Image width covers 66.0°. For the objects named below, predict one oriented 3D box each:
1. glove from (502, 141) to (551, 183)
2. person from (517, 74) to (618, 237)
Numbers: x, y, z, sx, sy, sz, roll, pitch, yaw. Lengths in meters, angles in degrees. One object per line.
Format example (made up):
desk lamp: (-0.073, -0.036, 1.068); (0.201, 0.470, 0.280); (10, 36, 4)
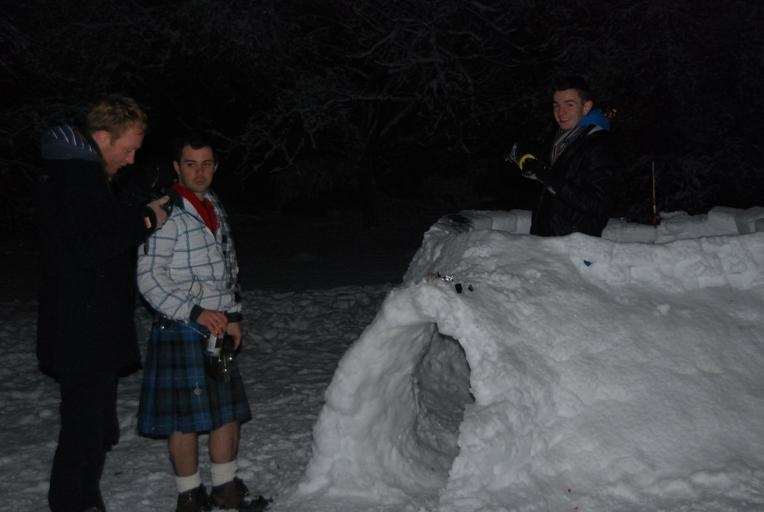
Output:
glove: (1.061, -0.699, 4.358); (0.331, 0.119, 0.395); (17, 22, -43)
person: (1.329, -0.725, 4.315); (0.660, 1.171, 0.538); (-9, -6, 42)
